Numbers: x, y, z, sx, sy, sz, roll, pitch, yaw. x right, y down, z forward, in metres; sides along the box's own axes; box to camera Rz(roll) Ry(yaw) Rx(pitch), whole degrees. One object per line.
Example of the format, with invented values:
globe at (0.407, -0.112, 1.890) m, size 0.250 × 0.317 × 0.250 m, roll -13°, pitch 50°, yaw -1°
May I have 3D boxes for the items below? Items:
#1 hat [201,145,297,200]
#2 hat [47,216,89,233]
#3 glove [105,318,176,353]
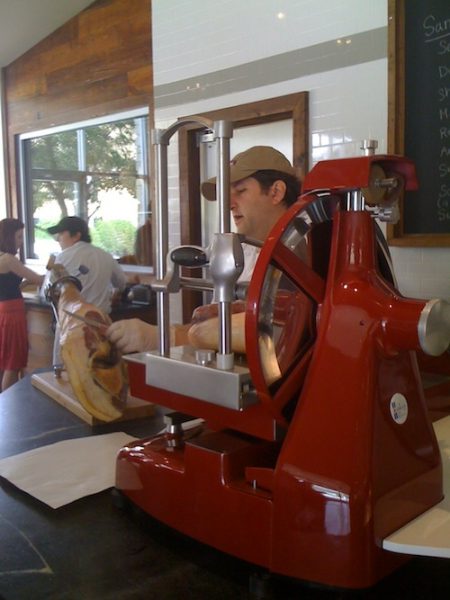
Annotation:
hat at (0.116, -0.498, 2.061) m, size 0.479 × 0.223 × 0.287 m, roll 2°, pitch -3°, yaw 2°
hat at (-1.000, -0.464, 3.179) m, size 0.241 × 0.119 × 0.148 m, roll 0°, pitch 2°, yaw 1°
glove at (-0.365, 0.143, 2.068) m, size 0.191 × 0.147 × 0.321 m, roll -6°, pitch -5°, yaw 34°
